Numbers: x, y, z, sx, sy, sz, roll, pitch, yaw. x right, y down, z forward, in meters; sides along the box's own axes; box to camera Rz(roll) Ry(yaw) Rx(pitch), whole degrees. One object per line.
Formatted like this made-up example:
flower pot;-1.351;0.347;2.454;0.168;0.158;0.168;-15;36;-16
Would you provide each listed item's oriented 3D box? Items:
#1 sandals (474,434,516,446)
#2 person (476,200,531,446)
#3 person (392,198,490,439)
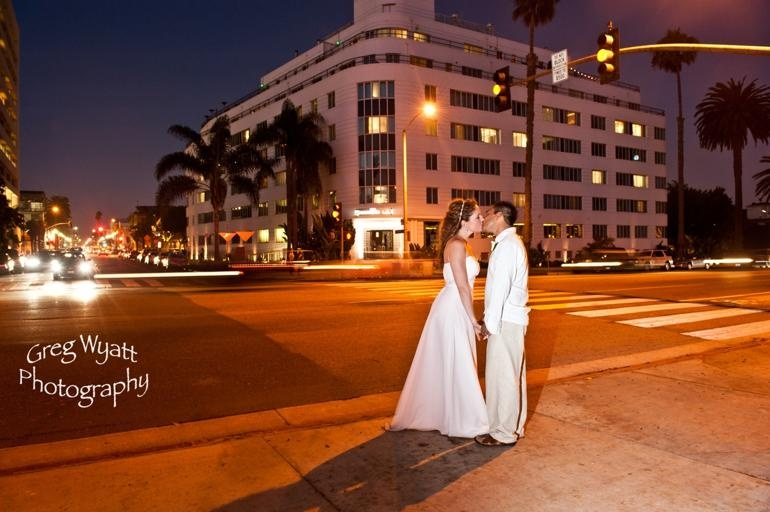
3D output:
sandals;1.472;2.463;7.842;0.455;0.145;0.197;5;-8;4
person;1.601;0.898;7.909;0.629;3.198;0.807;2;9;14
person;0.821;0.903;8.043;1.160;3.114;0.654;0;9;4
